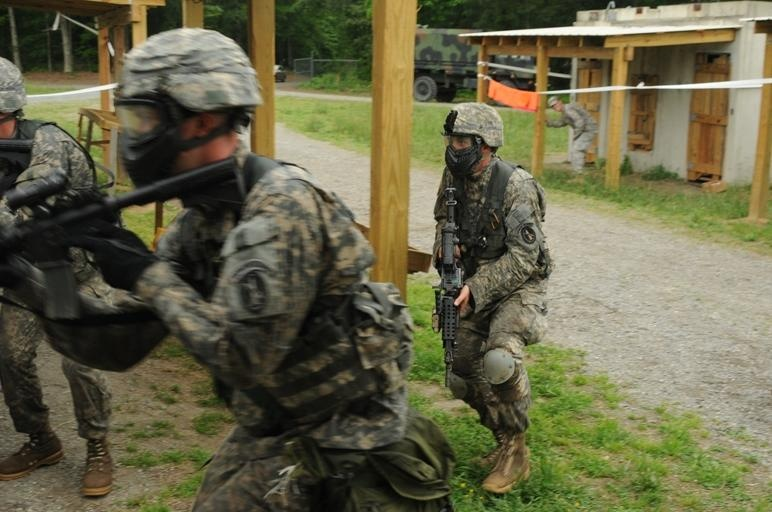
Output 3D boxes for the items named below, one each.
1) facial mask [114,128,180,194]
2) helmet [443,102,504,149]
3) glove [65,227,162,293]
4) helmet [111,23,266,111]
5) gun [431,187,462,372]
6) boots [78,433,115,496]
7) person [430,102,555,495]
[{"bbox_3d":[-1.036,-0.446,3.488,0.262,0.246,0.262,-9,24,-25],"label":"facial mask"},{"bbox_3d":[0.719,-0.985,5.794,0.561,0.265,0.362,-12,21,-20],"label":"helmet"},{"bbox_3d":[-1.185,0.006,3.412,0.350,0.268,0.179,11,20,27],"label":"glove"},{"bbox_3d":[-0.875,-0.824,3.416,0.623,0.361,0.263,-1,19,-12],"label":"helmet"},{"bbox_3d":[0.440,0.125,5.566,0.390,1.111,0.270,2,0,-6],"label":"gun"},{"bbox_3d":[-2.060,1.468,5.465,0.239,0.251,0.528,4,15,-21],"label":"boots"},{"bbox_3d":[0.725,0.208,5.831,1.339,2.401,1.298,2,-4,-28],"label":"person"}]
